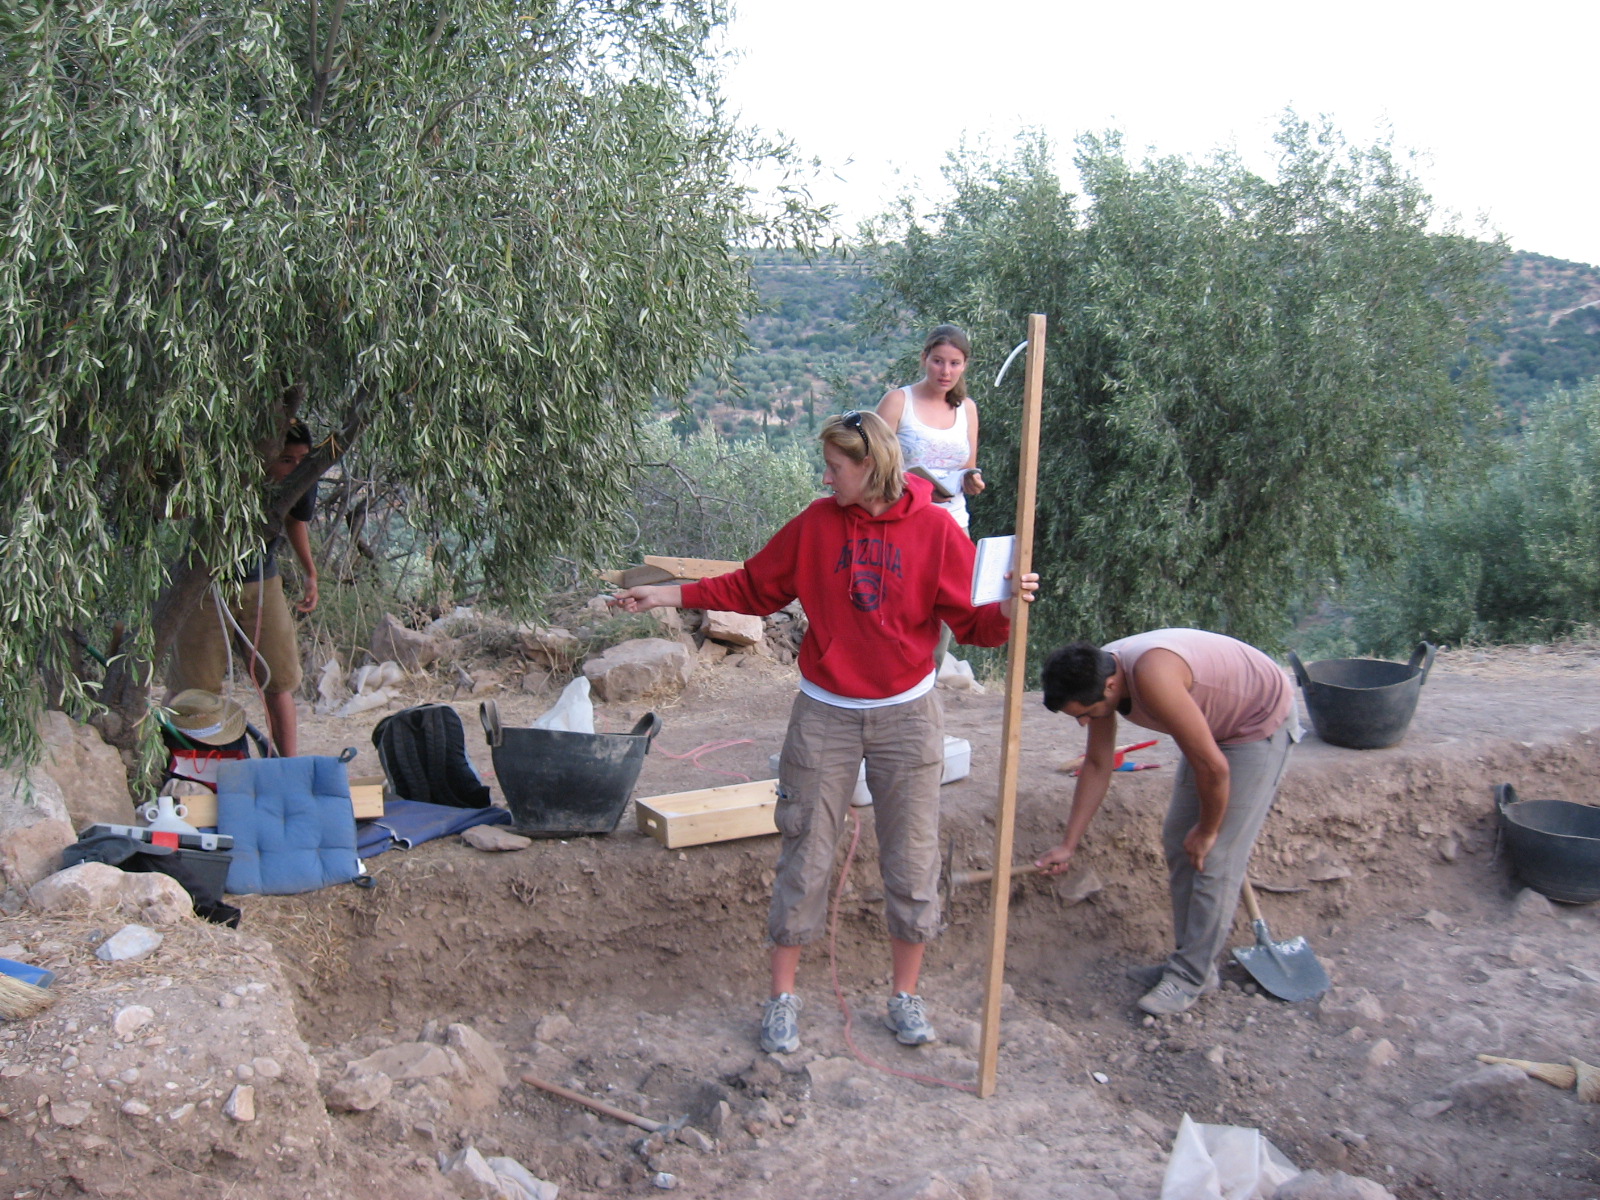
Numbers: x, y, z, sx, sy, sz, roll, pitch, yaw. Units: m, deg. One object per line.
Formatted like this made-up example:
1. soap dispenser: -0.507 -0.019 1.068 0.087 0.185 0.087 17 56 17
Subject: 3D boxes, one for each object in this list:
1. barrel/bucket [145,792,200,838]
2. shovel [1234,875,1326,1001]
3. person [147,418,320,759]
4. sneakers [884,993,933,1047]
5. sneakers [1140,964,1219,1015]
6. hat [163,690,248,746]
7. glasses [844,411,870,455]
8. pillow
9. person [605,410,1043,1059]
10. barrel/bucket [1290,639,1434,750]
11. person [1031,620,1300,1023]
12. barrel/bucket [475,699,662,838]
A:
1. barrel/bucket: -2.955 1.016 6.379 0.215 0.152 0.573 -3 10 -27
2. shovel: 2.606 1.902 7.573 0.332 0.151 0.824 5 31 -13
3. person: -2.956 -0.042 7.251 0.766 1.839 1.451 -2 10 -22
4. sneakers: 0.522 2.011 6.535 0.131 0.145 0.326 1 -8 -14
5. sneakers: 1.989 2.023 7.238 0.492 0.234 0.180 -15 6 -32
6. hat: -2.938 0.592 6.710 0.288 0.118 0.289 15 52 -11
7. glasses: 0.245 -0.711 5.830 0.038 0.145 0.128 -15 22 -18
8. pillow: -2.501 1.081 6.652 0.677 0.610 0.363 -2 10 -21
9. person: 0.246 0.787 6.251 1.313 2.734 0.441 1 9 -1
10. barrel/bucket: 3.633 0.609 8.879 0.893 0.667 0.624 -5 11 -37
11. person: 1.901 1.175 6.913 1.452 2.041 0.621 -6 12 -40
12. barrel/bucket: -1.189 0.921 7.043 0.771 0.588 0.707 1 -8 0
